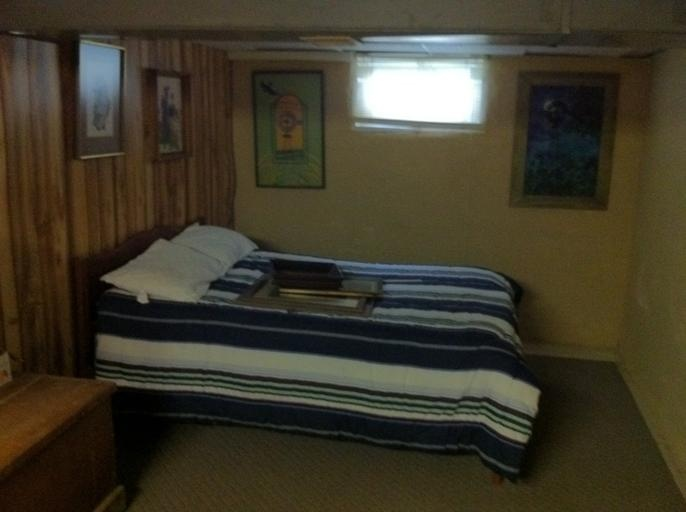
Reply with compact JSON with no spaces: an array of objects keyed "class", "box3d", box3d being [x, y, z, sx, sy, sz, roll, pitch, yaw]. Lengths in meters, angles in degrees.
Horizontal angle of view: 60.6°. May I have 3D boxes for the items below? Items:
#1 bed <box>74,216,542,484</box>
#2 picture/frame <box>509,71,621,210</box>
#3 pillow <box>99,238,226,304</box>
[{"class":"bed","box3d":[-0.239,0.465,3.552,2.247,0.878,1.488,3,26,6]},{"class":"picture/frame","box3d":[1.704,-0.887,4.538,0.729,1.020,0.185,3,15,17]},{"class":"pillow","box3d":[-1.070,0.093,3.643,0.460,0.110,0.435,22,33,16]}]
